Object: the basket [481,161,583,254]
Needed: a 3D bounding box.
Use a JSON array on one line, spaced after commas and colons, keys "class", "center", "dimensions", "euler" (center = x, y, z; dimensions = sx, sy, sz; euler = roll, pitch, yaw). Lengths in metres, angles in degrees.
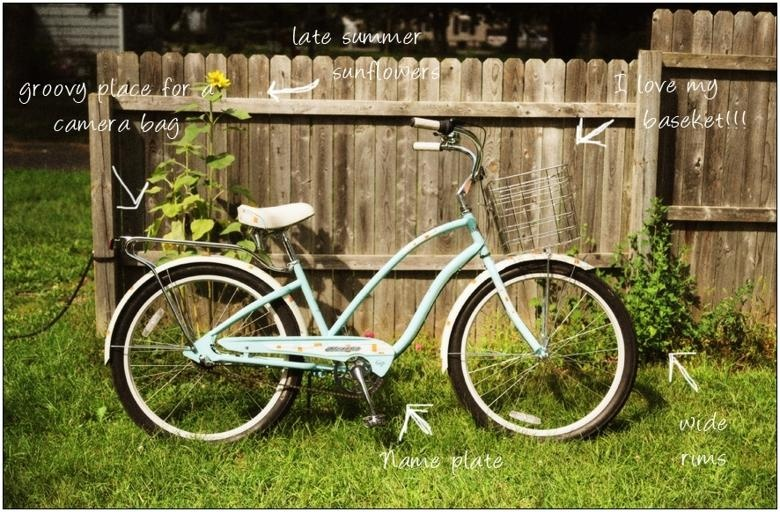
[{"class": "basket", "center": [1.474, -0.435, 9.356], "dimensions": [1.203, 1.050, 0.760], "euler": [-7, 19, 7]}]
